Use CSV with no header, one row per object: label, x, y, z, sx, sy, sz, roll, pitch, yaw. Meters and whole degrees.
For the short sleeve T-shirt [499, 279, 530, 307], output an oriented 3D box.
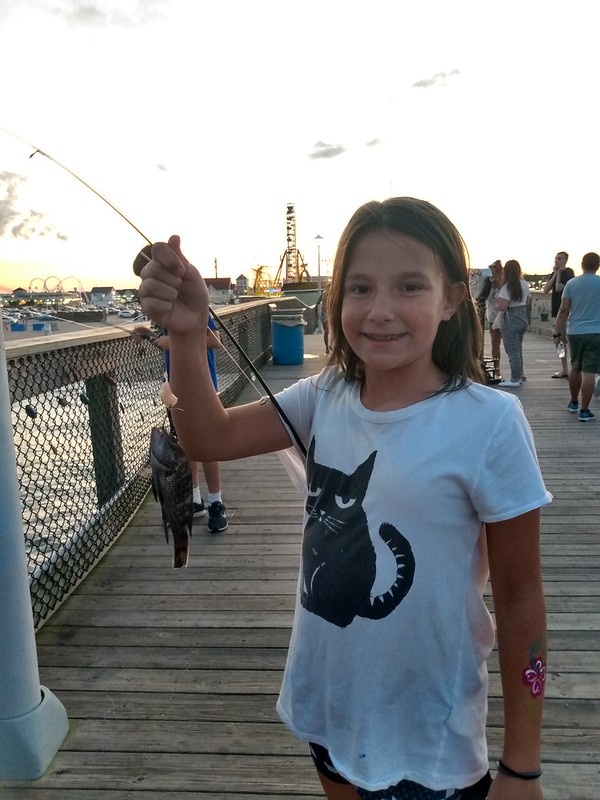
short sleeve T-shirt,2.329,-1.161,7.280,0.396,0.364,0.216,0,13,1
